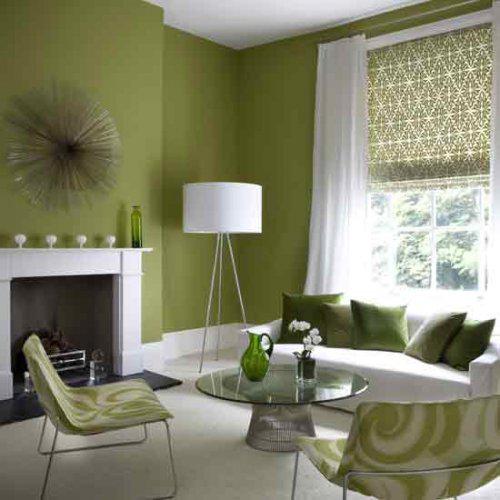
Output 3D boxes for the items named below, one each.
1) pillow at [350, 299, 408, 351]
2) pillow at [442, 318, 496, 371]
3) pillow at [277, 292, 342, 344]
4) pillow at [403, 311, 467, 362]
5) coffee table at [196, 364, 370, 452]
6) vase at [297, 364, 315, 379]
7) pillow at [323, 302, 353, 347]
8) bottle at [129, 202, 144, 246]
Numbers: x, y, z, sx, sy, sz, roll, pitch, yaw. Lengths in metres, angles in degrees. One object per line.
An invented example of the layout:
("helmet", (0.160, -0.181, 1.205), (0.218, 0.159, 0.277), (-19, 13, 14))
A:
("pillow", (0.998, 0.607, 3.823), (0.288, 0.308, 0.112), (3, -24, 0))
("pillow", (1.444, 0.621, 3.227), (0.298, 0.331, 0.163), (1, 1, 27))
("pillow", (0.497, 0.570, 4.018), (0.311, 0.336, 0.130), (-2, -22, 13))
("pillow", (1.299, 0.596, 3.416), (0.100, 0.348, 0.351), (26, -1, -13))
("coffee table", (0.151, 0.871, 2.702), (0.548, 0.241, 0.596), (-3, 2, -16))
("vase", (0.316, 0.666, 2.756), (0.093, 0.109, 0.073), (2, -3, -24))
("pillow", (0.719, 0.626, 4.001), (0.285, 0.346, 0.126), (0, -24, 1))
("bottle", (-1.048, -0.225, 4.473), (0.112, 0.400, 0.265), (0, 1, -14))
